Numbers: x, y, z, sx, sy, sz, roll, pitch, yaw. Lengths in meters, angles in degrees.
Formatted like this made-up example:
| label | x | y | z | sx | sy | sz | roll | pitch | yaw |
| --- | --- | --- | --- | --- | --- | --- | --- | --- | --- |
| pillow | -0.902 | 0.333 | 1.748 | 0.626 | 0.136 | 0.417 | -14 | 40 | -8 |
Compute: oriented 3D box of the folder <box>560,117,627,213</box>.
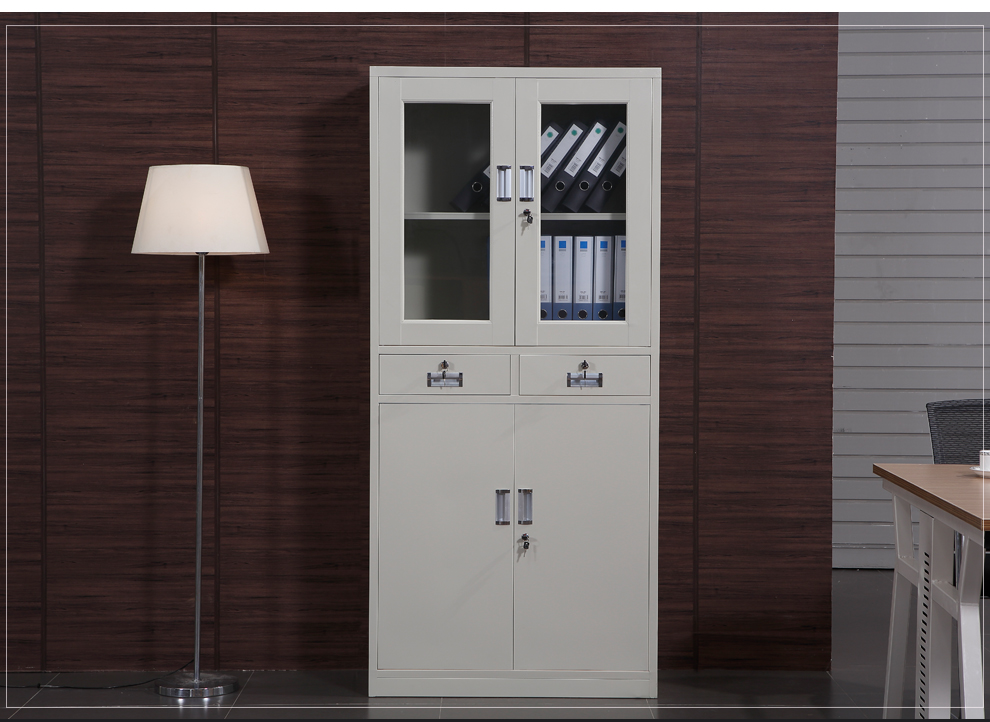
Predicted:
| label | x | y | z | sx | sy | sz | roll | pitch | yaw |
| --- | --- | --- | --- | --- | --- | --- | --- | --- | --- |
| folder | 0.291 | -0.575 | 3.461 | 0.189 | 0.258 | 0.018 | -1 | -2 | 9 |

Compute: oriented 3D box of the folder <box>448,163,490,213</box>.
| label | x | y | z | sx | sy | sz | roll | pitch | yaw |
| --- | --- | --- | --- | --- | --- | --- | --- | --- | --- |
| folder | -0.078 | -0.509 | 3.451 | 0.111 | 0.137 | 0.011 | -1 | -2 | -2 |

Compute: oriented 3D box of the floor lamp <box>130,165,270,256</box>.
| label | x | y | z | sx | sy | sz | roll | pitch | yaw |
| --- | --- | --- | --- | --- | --- | --- | --- | --- | --- |
| floor lamp | -0.860 | -0.461 | 3.465 | 0.449 | 0.202 | 0.248 | -1 | 17 | -7 |
